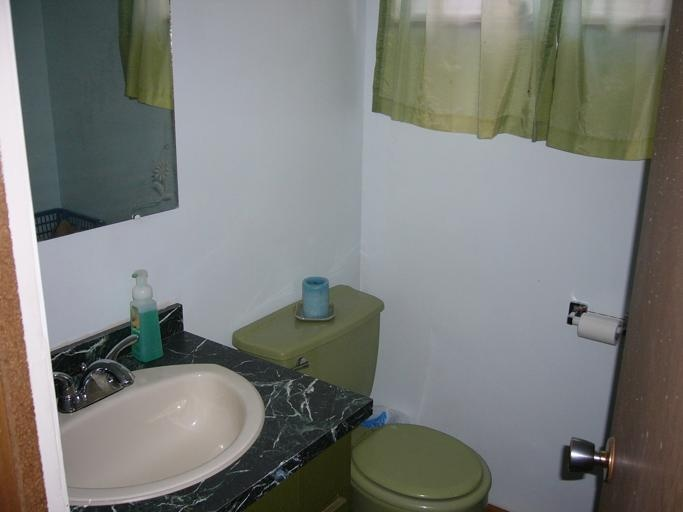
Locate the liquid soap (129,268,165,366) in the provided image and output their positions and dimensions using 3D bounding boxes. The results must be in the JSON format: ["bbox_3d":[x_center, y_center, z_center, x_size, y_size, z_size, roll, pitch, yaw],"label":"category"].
[{"bbox_3d":[-0.496,0.153,1.482,0.072,0.243,0.084,-8,27,-27],"label":"liquid soap"}]

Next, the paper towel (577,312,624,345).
[{"bbox_3d":[0.826,0.231,1.817,0.122,0.105,0.092,12,18,29],"label":"paper towel"}]

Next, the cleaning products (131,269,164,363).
[{"bbox_3d":[-0.507,0.157,1.485,0.062,0.232,0.072,-4,7,13],"label":"cleaning products"}]
